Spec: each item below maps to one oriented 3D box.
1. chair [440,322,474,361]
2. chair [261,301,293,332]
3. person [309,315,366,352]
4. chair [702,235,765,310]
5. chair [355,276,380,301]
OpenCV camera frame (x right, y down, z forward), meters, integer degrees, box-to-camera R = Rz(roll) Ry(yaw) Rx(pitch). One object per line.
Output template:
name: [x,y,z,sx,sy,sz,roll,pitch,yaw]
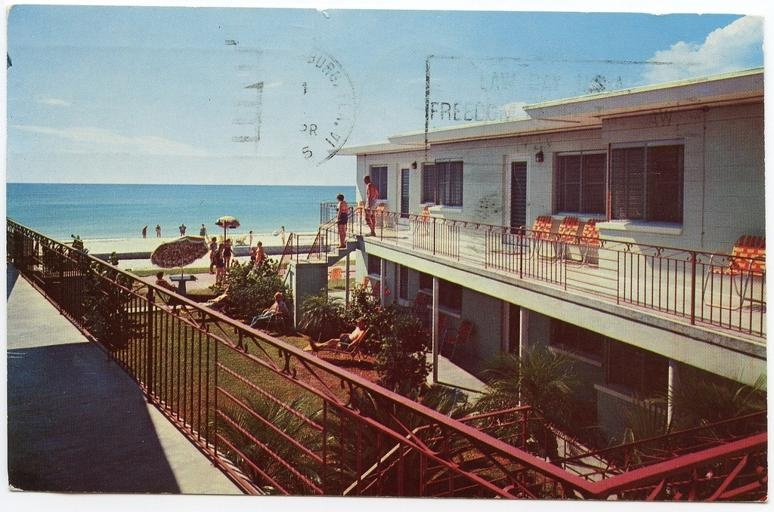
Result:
chair: [2.353,2.790,22.078,0.898,1.183,1.241,-5,8,-27]
chair: [-3.849,2.191,23.656,1.050,1.419,0.985,2,0,19]
person: [-1.521,2.644,20.581,1.961,1.194,1.270,1,-5,17]
chair: [7.281,0.317,13.427,1.100,1.414,2.063,2,8,28]
chair: [-0.625,1.394,27.397,1.077,1.063,0.801,-3,-26,44]
